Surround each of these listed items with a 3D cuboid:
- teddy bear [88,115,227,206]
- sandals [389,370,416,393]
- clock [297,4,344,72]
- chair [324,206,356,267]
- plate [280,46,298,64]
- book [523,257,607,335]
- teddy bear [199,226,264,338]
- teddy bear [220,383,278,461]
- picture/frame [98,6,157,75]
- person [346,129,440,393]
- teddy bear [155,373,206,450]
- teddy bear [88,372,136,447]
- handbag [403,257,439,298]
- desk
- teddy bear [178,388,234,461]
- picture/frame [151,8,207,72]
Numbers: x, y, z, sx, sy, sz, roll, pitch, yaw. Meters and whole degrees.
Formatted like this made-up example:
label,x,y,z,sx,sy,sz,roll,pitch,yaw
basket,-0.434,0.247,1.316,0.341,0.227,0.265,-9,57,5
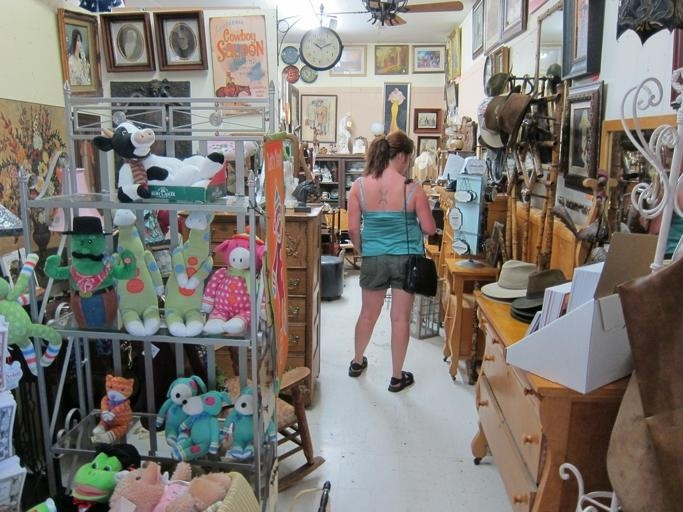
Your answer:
label,x,y,z,sx,sy,sz,roll,pitch,yaw
teddy bear,-0.922,-0.451,2.774,0.560,0.353,0.418,8,29,8
sandals,0.495,1.027,4.490,0.098,0.118,0.261,4,12,31
clock,-0.243,-2.517,6.634,0.488,0.521,0.172,-2,11,1
chair,-0.038,-0.237,7.489,0.320,0.795,0.806,0,11,2
plate,-0.928,-3.647,9.974,0.319,0.329,0.354,-3,11,-5
book,1.087,0.203,2.562,0.286,0.381,0.380,-11,14,-37
teddy bear,-0.546,0.122,2.804,0.352,0.557,0.309,1,6,-35
teddy bear,-0.531,0.880,2.857,0.289,0.484,0.134,2,12,22
picture/frame,-1.719,-1.731,4.400,0.491,0.599,0.115,-1,13,2
person,0.383,0.064,4.372,0.705,2.037,0.365,0,11,10
teddy bear,-0.848,0.809,2.913,0.208,0.359,0.195,10,3,-25
teddy bear,-1.220,0.816,2.924,0.155,0.307,0.244,12,13,10
handbag,0.605,0.165,4.216,0.317,0.310,0.125,0,7,-28
desk,0.993,0.492,4.176,0.339,0.831,0.841,2,10,8
teddy bear,-0.745,0.874,2.910,0.288,0.380,0.290,3,5,-20
picture/frame,-1.306,-1.750,4.413,0.454,0.576,0.060,0,11,-1
